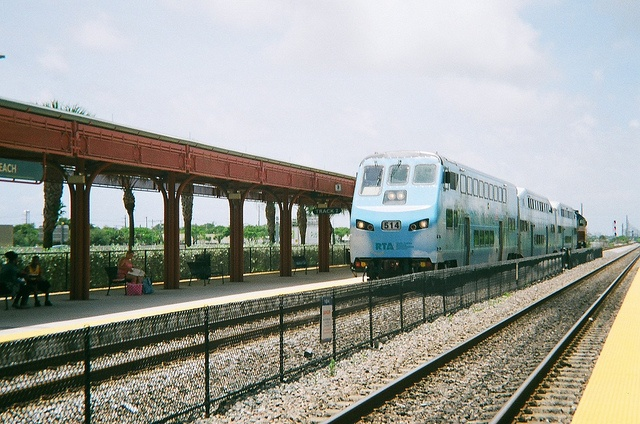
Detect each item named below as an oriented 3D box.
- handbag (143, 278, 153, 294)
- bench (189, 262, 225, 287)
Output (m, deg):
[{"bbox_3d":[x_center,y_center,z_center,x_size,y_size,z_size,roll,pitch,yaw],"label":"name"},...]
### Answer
[{"bbox_3d":[-6.651,2.877,20.608,0.364,0.600,0.280,2,0,-20],"label":"handbag"},{"bbox_3d":[-5.216,2.673,24.170,1.135,1.209,1.416,0,0,30],"label":"bench"}]
